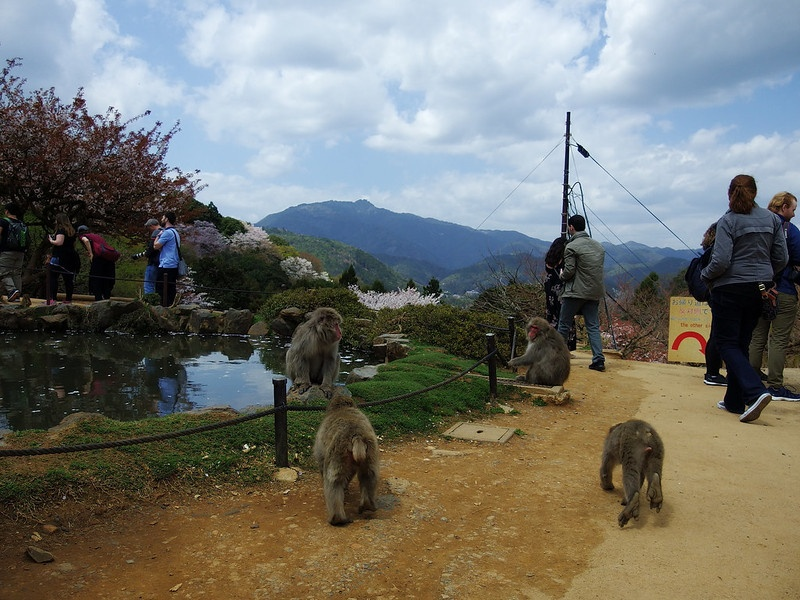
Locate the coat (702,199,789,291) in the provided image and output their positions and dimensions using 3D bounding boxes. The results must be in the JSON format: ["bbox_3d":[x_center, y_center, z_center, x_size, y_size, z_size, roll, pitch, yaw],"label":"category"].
[{"bbox_3d":[4.112,-0.619,6.320,0.988,0.947,0.361,-3,9,-9],"label":"coat"}]

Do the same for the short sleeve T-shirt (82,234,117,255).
[{"bbox_3d":[-7.441,-1.373,13.207,0.779,0.542,0.430,-9,12,-44],"label":"short sleeve T-shirt"}]

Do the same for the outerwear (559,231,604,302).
[{"bbox_3d":[3.091,-0.566,9.070,0.687,1.159,0.484,1,9,18],"label":"outerwear"}]

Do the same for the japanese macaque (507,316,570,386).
[{"bbox_3d":[2.141,0.776,8.169,0.786,1.065,0.367,2,9,22],"label":"japanese macaque"}]

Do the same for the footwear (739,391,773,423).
[{"bbox_3d":[4.178,1.297,6.363,0.218,0.229,0.579,16,-34,20],"label":"footwear"}]

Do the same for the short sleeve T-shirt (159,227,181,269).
[{"bbox_3d":[-5.766,-1.279,13.268,0.504,1.036,0.551,-5,9,-23],"label":"short sleeve T-shirt"}]

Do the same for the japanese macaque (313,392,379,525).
[{"bbox_3d":[-0.479,1.434,4.753,0.539,0.844,0.733,-3,9,-10],"label":"japanese macaque"}]

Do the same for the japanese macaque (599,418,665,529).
[{"bbox_3d":[2.017,1.406,4.591,0.389,0.718,1.130,-3,11,8],"label":"japanese macaque"}]

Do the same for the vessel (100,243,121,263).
[{"bbox_3d":[-7.274,-1.139,13.358,0.403,0.159,0.417,43,19,30],"label":"vessel"}]
